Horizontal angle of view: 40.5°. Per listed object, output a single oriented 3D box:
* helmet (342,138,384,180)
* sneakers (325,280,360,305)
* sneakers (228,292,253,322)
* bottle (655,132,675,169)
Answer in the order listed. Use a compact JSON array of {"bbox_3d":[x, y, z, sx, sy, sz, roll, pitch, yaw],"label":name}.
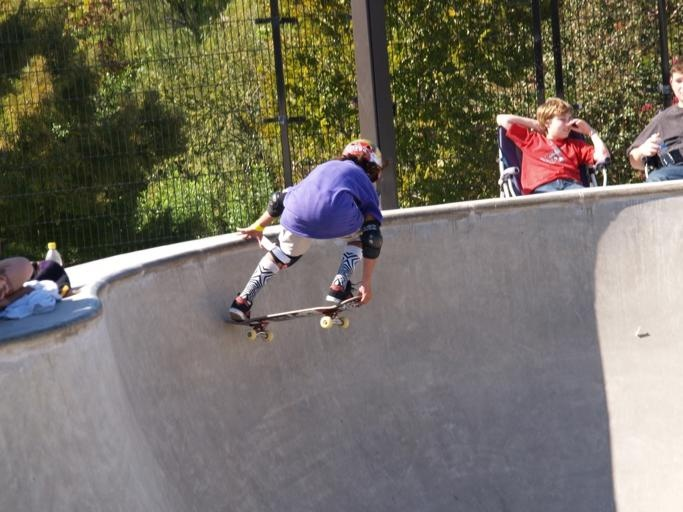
[{"bbox_3d":[0.165,-0.698,6.598,0.187,0.348,0.291,13,7,9],"label":"helmet"},{"bbox_3d":[0.007,0.237,6.379,0.212,0.141,0.458,-4,5,-1],"label":"sneakers"},{"bbox_3d":[-0.674,0.360,6.137,0.072,0.191,0.224,8,-9,18],"label":"sneakers"},{"bbox_3d":[2.805,-0.925,8.030,0.079,0.291,0.166,11,-18,-37],"label":"bottle"}]
